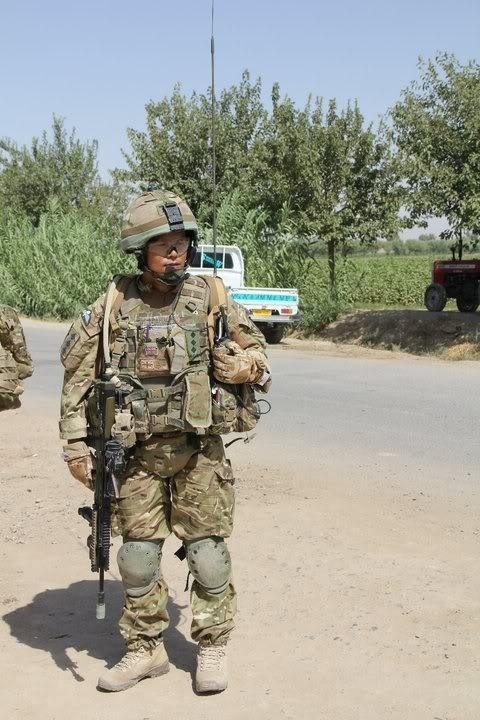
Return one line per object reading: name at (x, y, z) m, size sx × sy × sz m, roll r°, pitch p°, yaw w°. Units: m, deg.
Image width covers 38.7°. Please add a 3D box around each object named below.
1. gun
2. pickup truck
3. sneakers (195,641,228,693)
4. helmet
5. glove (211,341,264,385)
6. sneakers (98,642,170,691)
gun at (-0.513, 0.536, 2.565) m, size 0.122 × 1.062 × 0.462 m, roll 3°, pitch 1°, yaw -4°
pickup truck at (-0.156, -1.826, 17.666) m, size 3.876 × 2.079 × 2.063 m, roll 1°, pitch 16°, yaw 12°
sneakers at (-0.101, 1.069, 2.368) m, size 0.114 × 0.125 × 0.203 m, roll -1°, pitch 2°, yaw 0°
helmet at (-0.292, -0.509, 2.468) m, size 0.276 × 0.246 × 0.245 m, roll -1°, pitch 2°, yaw -10°
glove at (-0.015, 0.008, 2.400) m, size 0.135 × 0.078 × 0.175 m, roll 13°, pitch 2°, yaw -14°
sneakers at (-0.364, 1.061, 2.439) m, size 0.090 × 0.133 × 0.287 m, roll 10°, pitch 8°, yaw 44°
